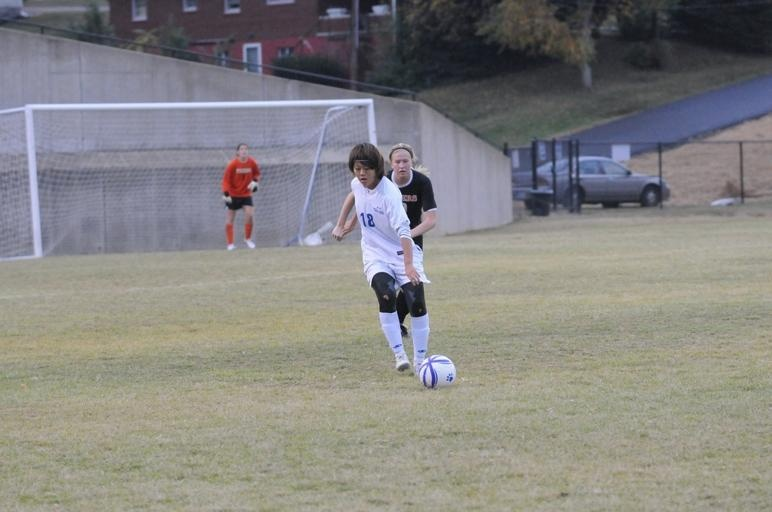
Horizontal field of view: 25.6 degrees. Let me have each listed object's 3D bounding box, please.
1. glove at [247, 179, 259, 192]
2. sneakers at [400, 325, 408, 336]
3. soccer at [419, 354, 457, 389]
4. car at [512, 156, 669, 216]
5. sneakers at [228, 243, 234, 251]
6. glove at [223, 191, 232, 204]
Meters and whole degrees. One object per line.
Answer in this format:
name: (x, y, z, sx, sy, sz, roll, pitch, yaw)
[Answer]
glove: (-4.261, -2.218, 54.990, 0.288, 0.329, 0.337, 25, 23, -36)
sneakers: (0.504, 2.178, 47.327, 0.243, 0.261, 0.260, -13, -23, -8)
soccer: (1.412, 3.220, 46.030, 0.882, 0.899, 0.934, -5, 1, 37)
car: (7.966, -2.574, 65.063, 5.365, 1.691, 2.224, -3, 7, -20)
sneakers: (-5.057, -0.208, 55.542, 0.138, 0.206, 0.307, 2, -8, -33)
glove: (-5.099, -1.813, 54.801, 0.294, 0.354, 0.316, -3, 4, -1)
